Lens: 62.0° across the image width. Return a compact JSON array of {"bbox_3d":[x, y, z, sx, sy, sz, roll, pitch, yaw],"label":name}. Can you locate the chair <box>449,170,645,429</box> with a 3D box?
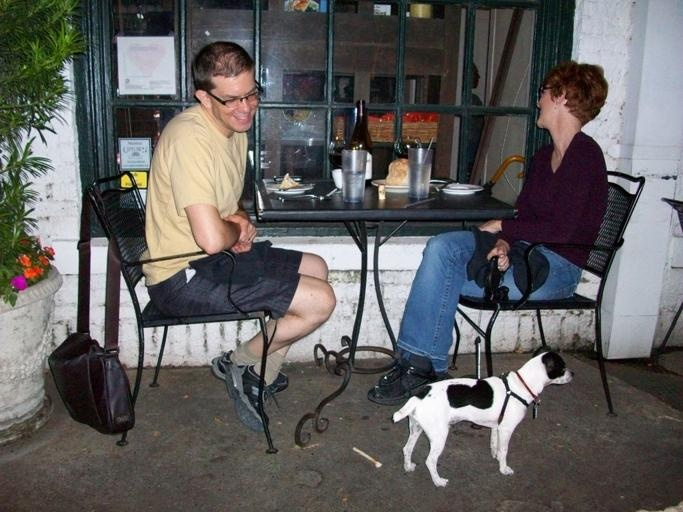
[{"bbox_3d":[1.286,0.102,3.862,1.381,1.978,1.191,1,8,0],"label":"chair"}]

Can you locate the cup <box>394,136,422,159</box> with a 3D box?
[{"bbox_3d":[0.390,-0.669,3.528,0.219,0.161,0.196,1,8,3],"label":"cup"}]

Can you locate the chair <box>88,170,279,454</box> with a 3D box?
[{"bbox_3d":[-0.823,0.313,3.025,0.799,1.209,0.703,-2,-2,-12],"label":"chair"}]

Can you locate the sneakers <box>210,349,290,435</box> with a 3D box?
[{"bbox_3d":[-0.509,0.732,3.074,0.572,0.260,0.215,53,10,17],"label":"sneakers"}]

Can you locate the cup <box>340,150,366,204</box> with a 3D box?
[{"bbox_3d":[0.057,-0.378,2.700,0.109,0.239,0.134,0,18,0],"label":"cup"}]

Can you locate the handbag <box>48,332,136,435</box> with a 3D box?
[{"bbox_3d":[-1.217,0.631,2.737,0.418,0.435,0.237,12,29,34],"label":"handbag"}]

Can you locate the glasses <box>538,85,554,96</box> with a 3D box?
[{"bbox_3d":[1.114,-0.895,3.102,0.059,0.057,0.053,2,12,7],"label":"glasses"}]

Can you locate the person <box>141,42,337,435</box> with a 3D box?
[{"bbox_3d":[-0.512,-0.066,2.836,0.941,1.869,0.578,-6,19,-17],"label":"person"}]

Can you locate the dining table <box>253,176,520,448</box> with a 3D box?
[{"bbox_3d":[0.156,0.253,3.135,1.450,1.061,1.452,8,14,44],"label":"dining table"}]

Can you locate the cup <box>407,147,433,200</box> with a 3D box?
[{"bbox_3d":[0.395,-0.421,2.892,0.119,0.262,0.249,2,19,6],"label":"cup"}]

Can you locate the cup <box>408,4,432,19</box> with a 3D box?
[{"bbox_3d":[0.491,-1.505,3.523,0.093,0.068,0.095,1,39,-1],"label":"cup"}]

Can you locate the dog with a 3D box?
[{"bbox_3d":[0.675,0.749,2.667,0.868,0.587,0.247,-3,11,-8],"label":"dog"}]

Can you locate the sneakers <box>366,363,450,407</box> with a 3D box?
[{"bbox_3d":[0.370,0.721,3.113,0.410,0.169,0.212,-8,37,5],"label":"sneakers"}]
